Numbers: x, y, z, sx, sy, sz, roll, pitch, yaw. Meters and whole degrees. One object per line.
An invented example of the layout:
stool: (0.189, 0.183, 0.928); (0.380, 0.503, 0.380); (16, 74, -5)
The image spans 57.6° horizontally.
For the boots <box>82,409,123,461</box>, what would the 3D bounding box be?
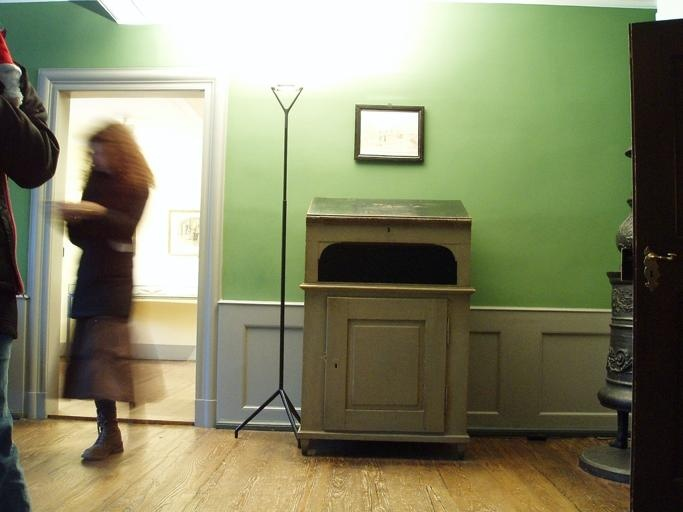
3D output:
boots: (-1.430, 1.071, 3.715); (0.111, 0.274, 0.261); (-9, 0, 30)

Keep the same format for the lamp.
lamp: (-0.474, 0.020, 4.103); (0.426, 2.300, 0.726); (0, 8, -4)

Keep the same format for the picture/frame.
picture/frame: (0.330, -0.827, 4.283); (0.382, 0.364, 0.034); (1, 4, -1)

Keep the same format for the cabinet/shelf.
cabinet/shelf: (0.277, 0.443, 3.900); (1.039, 1.575, 0.489); (1, 7, 1)
